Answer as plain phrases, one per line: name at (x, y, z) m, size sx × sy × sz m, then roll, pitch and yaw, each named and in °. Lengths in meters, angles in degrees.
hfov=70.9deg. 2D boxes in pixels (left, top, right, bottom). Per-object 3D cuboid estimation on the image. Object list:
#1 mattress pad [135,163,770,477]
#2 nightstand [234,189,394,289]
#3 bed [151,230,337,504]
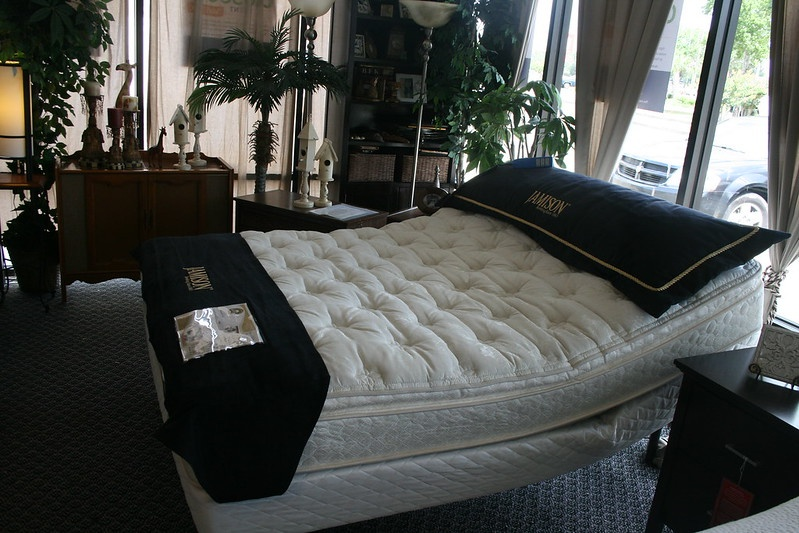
mattress pad at (0.471, 0.233, 2.261) m, size 1.615 × 0.394 × 1.124 m, roll -9°, pitch 32°, yaw -18°
nightstand at (-0.639, -0.186, 3.827) m, size 0.847 × 0.494 × 0.445 m, roll 14°, pitch 20°, yaw 23°
bed at (-0.560, 0.381, 1.998) m, size 0.467 × 0.306 × 1.115 m, roll 3°, pitch 33°, yaw -34°
